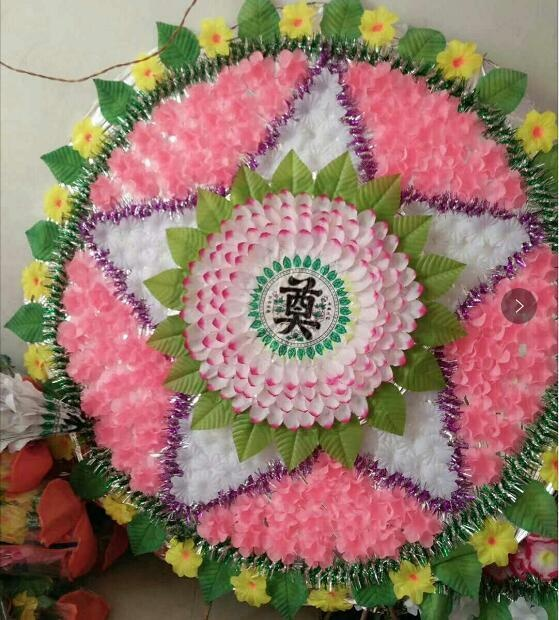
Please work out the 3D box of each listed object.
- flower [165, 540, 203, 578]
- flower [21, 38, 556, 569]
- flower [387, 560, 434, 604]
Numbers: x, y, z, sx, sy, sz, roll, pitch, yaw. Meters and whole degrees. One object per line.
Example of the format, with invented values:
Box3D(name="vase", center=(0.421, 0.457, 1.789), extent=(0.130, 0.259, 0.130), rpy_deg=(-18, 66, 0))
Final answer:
Box3D(name="flower", center=(-0.165, 0.420, 1.190), extent=(0.072, 0.017, 0.058), rpy_deg=(5, 98, 19))
Box3D(name="flower", center=(0.041, -0.011, 1.164), extent=(0.895, 0.183, 0.872), rpy_deg=(11, 81, 3))
Box3D(name="flower", center=(0.218, 0.431, 1.127), extent=(0.081, 0.075, 0.024), rpy_deg=(1, 94, -24))
